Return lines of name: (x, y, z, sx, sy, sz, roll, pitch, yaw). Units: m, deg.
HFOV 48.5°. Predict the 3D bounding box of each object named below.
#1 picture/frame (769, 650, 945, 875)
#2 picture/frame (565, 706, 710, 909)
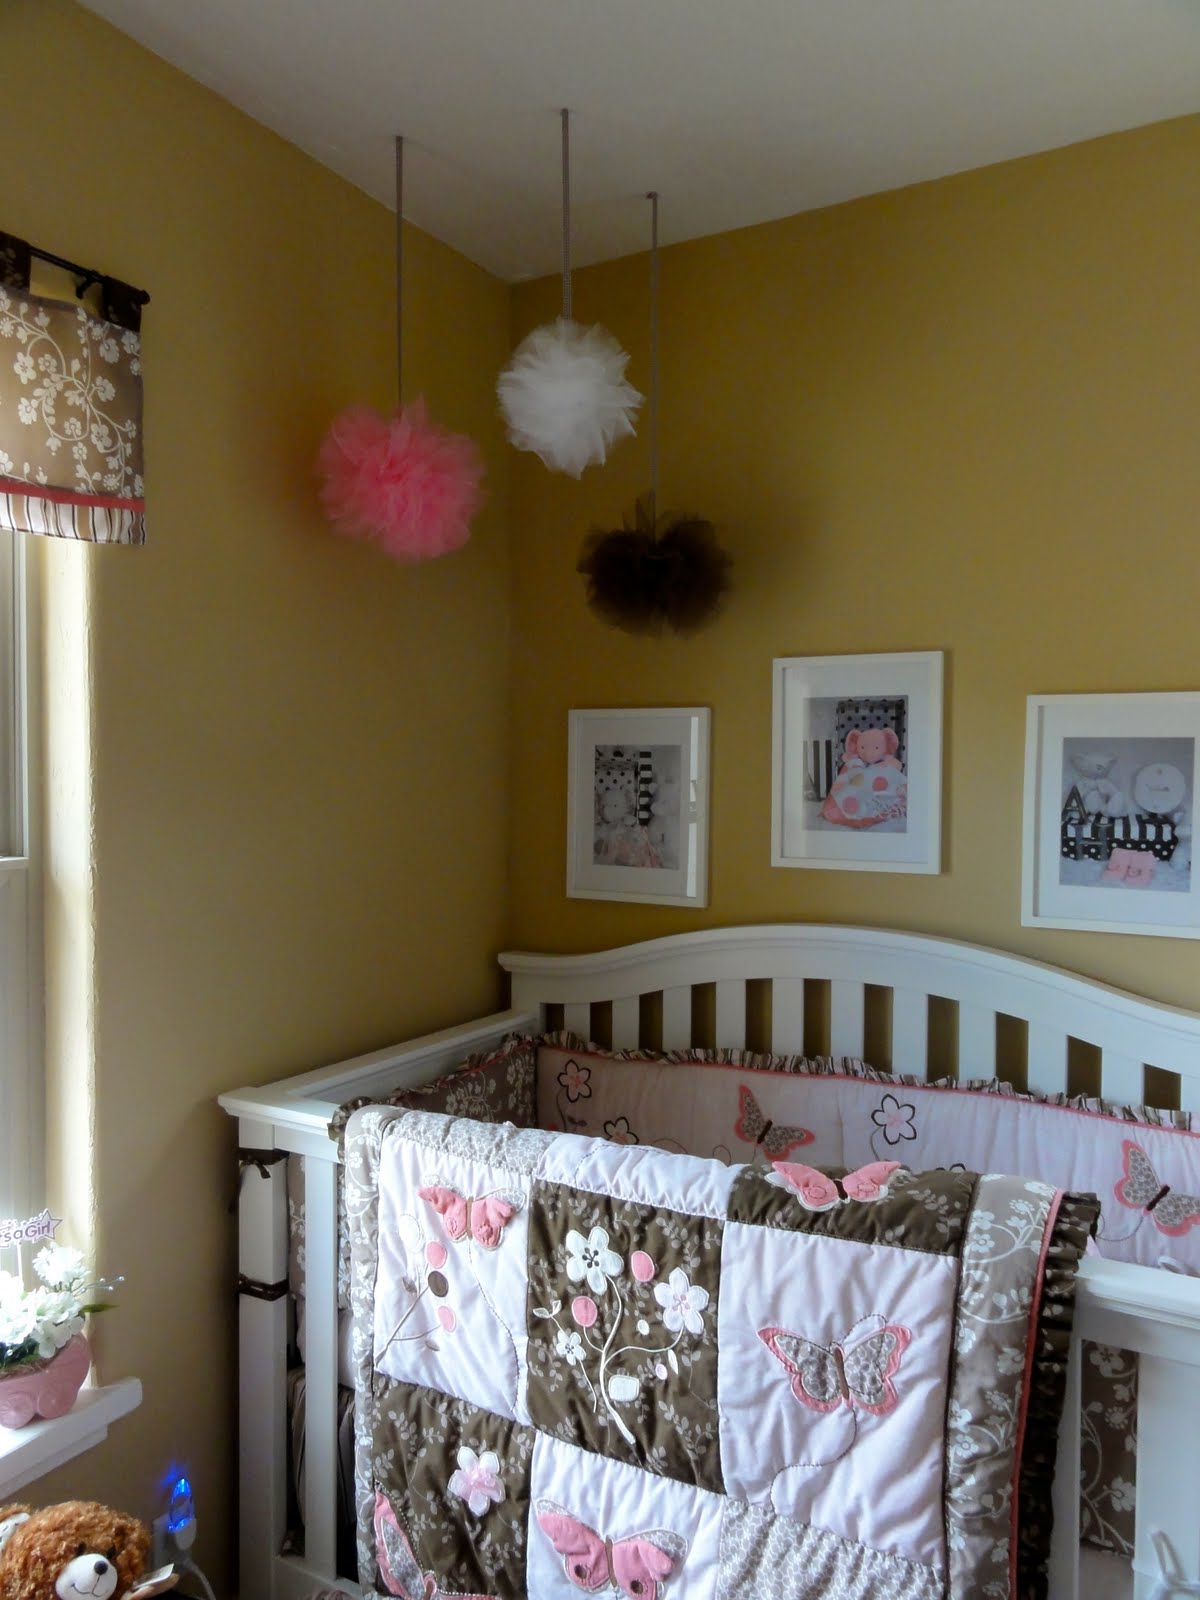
picture/frame: (0.437, -0.059, 2.287, 0.281, 0.438, 0.018, 1, 33, 12)
picture/frame: (0.064, 0.014, 2.528, 0.256, 0.388, 0.024, 0, 23, -2)
